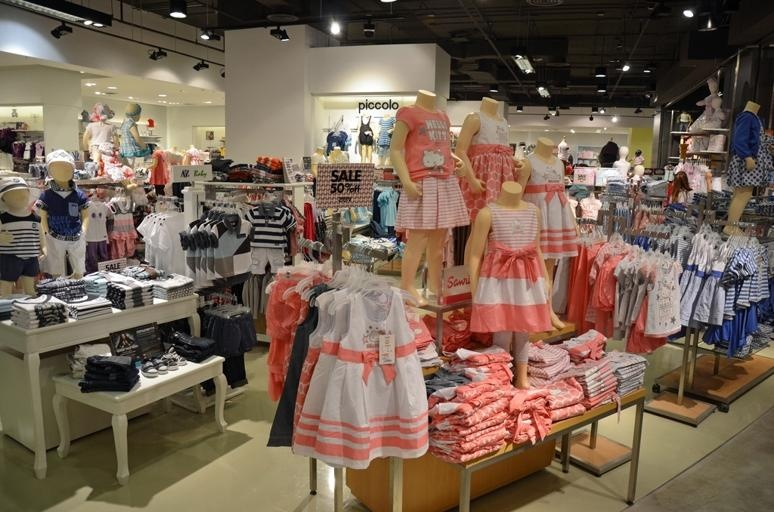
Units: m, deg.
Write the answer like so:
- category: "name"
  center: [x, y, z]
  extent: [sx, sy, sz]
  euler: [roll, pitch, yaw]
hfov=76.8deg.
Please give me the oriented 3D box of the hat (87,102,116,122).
- category: "hat"
  center: [-5.650, -2.854, 9.678]
  extent: [0.356, 0.359, 0.614]
  euler: [-7, 13, -33]

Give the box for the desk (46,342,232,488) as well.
- category: "desk"
  center: [-2.237, 1.159, 4.405]
  extent: [0.948, 0.771, 1.296]
  euler: [4, 9, 21]

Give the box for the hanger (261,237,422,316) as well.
- category: "hanger"
  center: [-0.485, 0.216, 3.628]
  extent: [0.487, 0.595, 0.895]
  euler: [-10, 15, -42]

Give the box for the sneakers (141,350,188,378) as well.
- category: "sneakers"
  center: [-1.990, 0.971, 4.370]
  extent: [0.263, 0.101, 0.191]
  euler: [-2, 5, -30]
